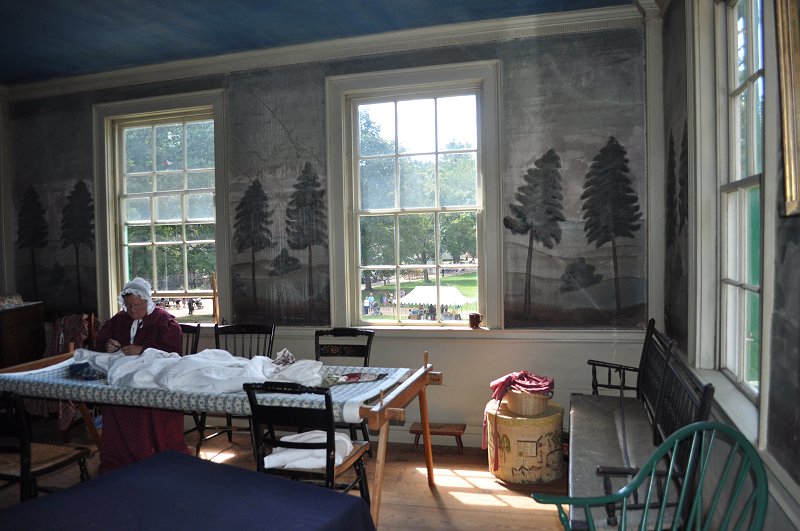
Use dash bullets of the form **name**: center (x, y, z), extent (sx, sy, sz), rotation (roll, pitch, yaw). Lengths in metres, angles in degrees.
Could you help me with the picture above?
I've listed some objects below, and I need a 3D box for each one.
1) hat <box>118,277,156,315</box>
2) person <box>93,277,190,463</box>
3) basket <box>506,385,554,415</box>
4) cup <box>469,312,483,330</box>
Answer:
- **hat**: center (-2.373, 0.269, 5.729), extent (0.303, 0.330, 0.360), rotation (-1, -2, 2)
- **person**: center (-2.353, 0.944, 5.530), extent (0.784, 1.585, 0.814), rotation (-5, 12, -20)
- **basket**: center (1.121, 1.174, 5.432), extent (0.406, 0.216, 0.276), rotation (1, 11, 10)
- **cup**: center (0.740, 0.545, 6.119), extent (0.117, 0.152, 0.085), rotation (0, 11, 5)
